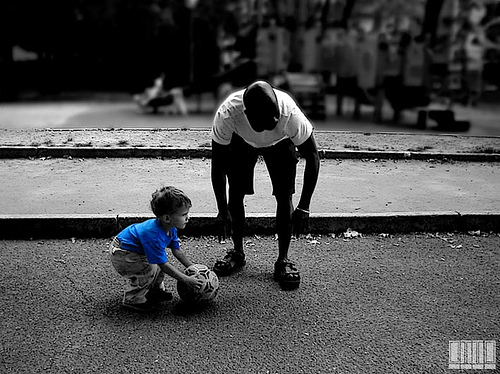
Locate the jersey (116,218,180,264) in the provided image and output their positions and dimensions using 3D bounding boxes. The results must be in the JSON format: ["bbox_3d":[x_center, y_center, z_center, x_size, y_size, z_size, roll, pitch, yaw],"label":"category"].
[{"bbox_3d":[-0.846,0.403,4.171,0.413,0.255,0.335,18,14,7],"label":"jersey"}]

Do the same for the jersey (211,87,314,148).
[{"bbox_3d":[0.092,-0.649,4.508,0.691,0.367,0.491,-10,-11,-8],"label":"jersey"}]

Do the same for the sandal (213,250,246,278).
[{"bbox_3d":[-0.187,0.718,5.019,0.158,0.172,0.454,13,11,36],"label":"sandal"}]

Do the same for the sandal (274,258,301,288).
[{"bbox_3d":[0.346,0.799,4.772,0.246,0.183,0.269,-1,20,2],"label":"sandal"}]

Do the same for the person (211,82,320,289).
[{"bbox_3d":[0.120,-0.030,4.617,0.975,1.834,0.550,1,20,8],"label":"person"}]
